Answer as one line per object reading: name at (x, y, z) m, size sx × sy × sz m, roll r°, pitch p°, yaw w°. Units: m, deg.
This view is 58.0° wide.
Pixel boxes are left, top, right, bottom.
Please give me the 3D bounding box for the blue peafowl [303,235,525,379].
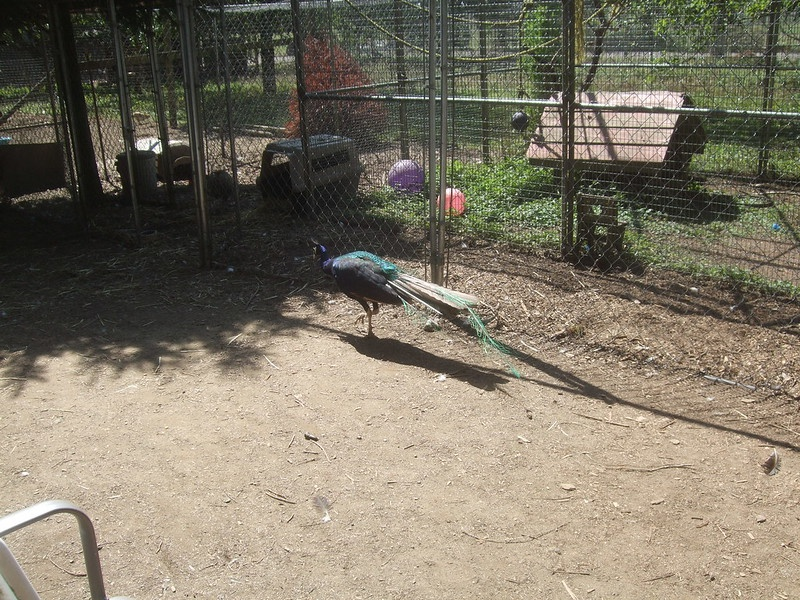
blue peafowl at (0.059, 0.021, 6.719) m, size 2.158 × 0.918 × 0.536 m, roll 9°, pitch 20°, yaw 28°
